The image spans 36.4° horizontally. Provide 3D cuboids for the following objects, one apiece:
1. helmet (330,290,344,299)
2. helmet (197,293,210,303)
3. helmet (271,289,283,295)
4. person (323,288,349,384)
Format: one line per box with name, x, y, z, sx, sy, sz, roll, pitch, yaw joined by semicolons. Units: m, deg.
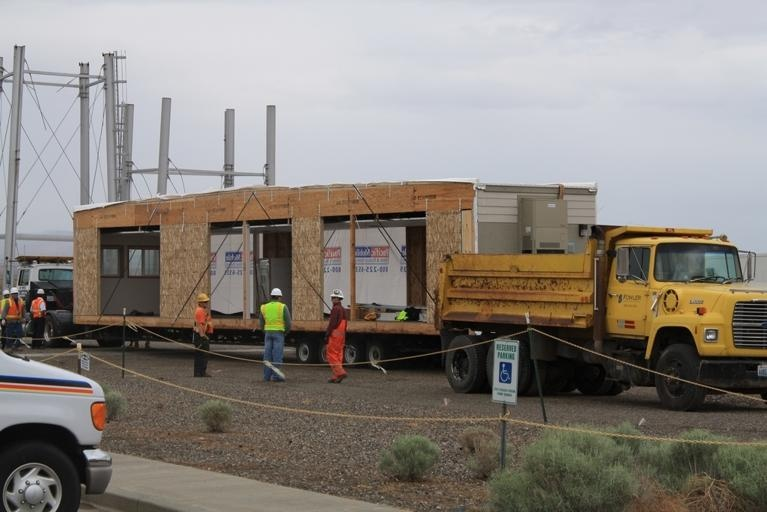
helmet;-1.115;0.948;28.165;0.216;0.154;0.281;-1;9;-28
helmet;-4.509;1.096;29.849;0.410;0.199;0.404;0;-1;-24
helmet;-2.610;0.851;28.593;0.216;0.116;0.296;1;-5;-9
person;-1.135;1.939;28.370;0.475;2.202;0.888;1;-2;-2
